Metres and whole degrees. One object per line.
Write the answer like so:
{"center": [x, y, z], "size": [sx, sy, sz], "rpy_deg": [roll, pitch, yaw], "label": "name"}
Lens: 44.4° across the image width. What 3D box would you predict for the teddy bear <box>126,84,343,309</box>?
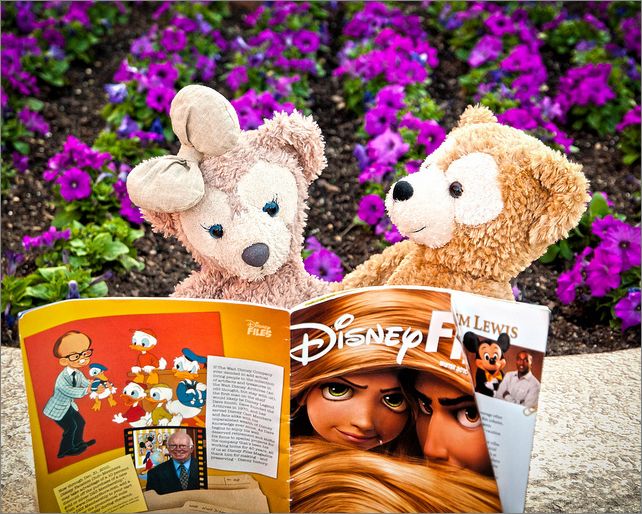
{"center": [-0.283, -0.167, 2.468], "size": [0.591, 0.416, 0.622], "rpy_deg": [-1, 75, 3], "label": "teddy bear"}
